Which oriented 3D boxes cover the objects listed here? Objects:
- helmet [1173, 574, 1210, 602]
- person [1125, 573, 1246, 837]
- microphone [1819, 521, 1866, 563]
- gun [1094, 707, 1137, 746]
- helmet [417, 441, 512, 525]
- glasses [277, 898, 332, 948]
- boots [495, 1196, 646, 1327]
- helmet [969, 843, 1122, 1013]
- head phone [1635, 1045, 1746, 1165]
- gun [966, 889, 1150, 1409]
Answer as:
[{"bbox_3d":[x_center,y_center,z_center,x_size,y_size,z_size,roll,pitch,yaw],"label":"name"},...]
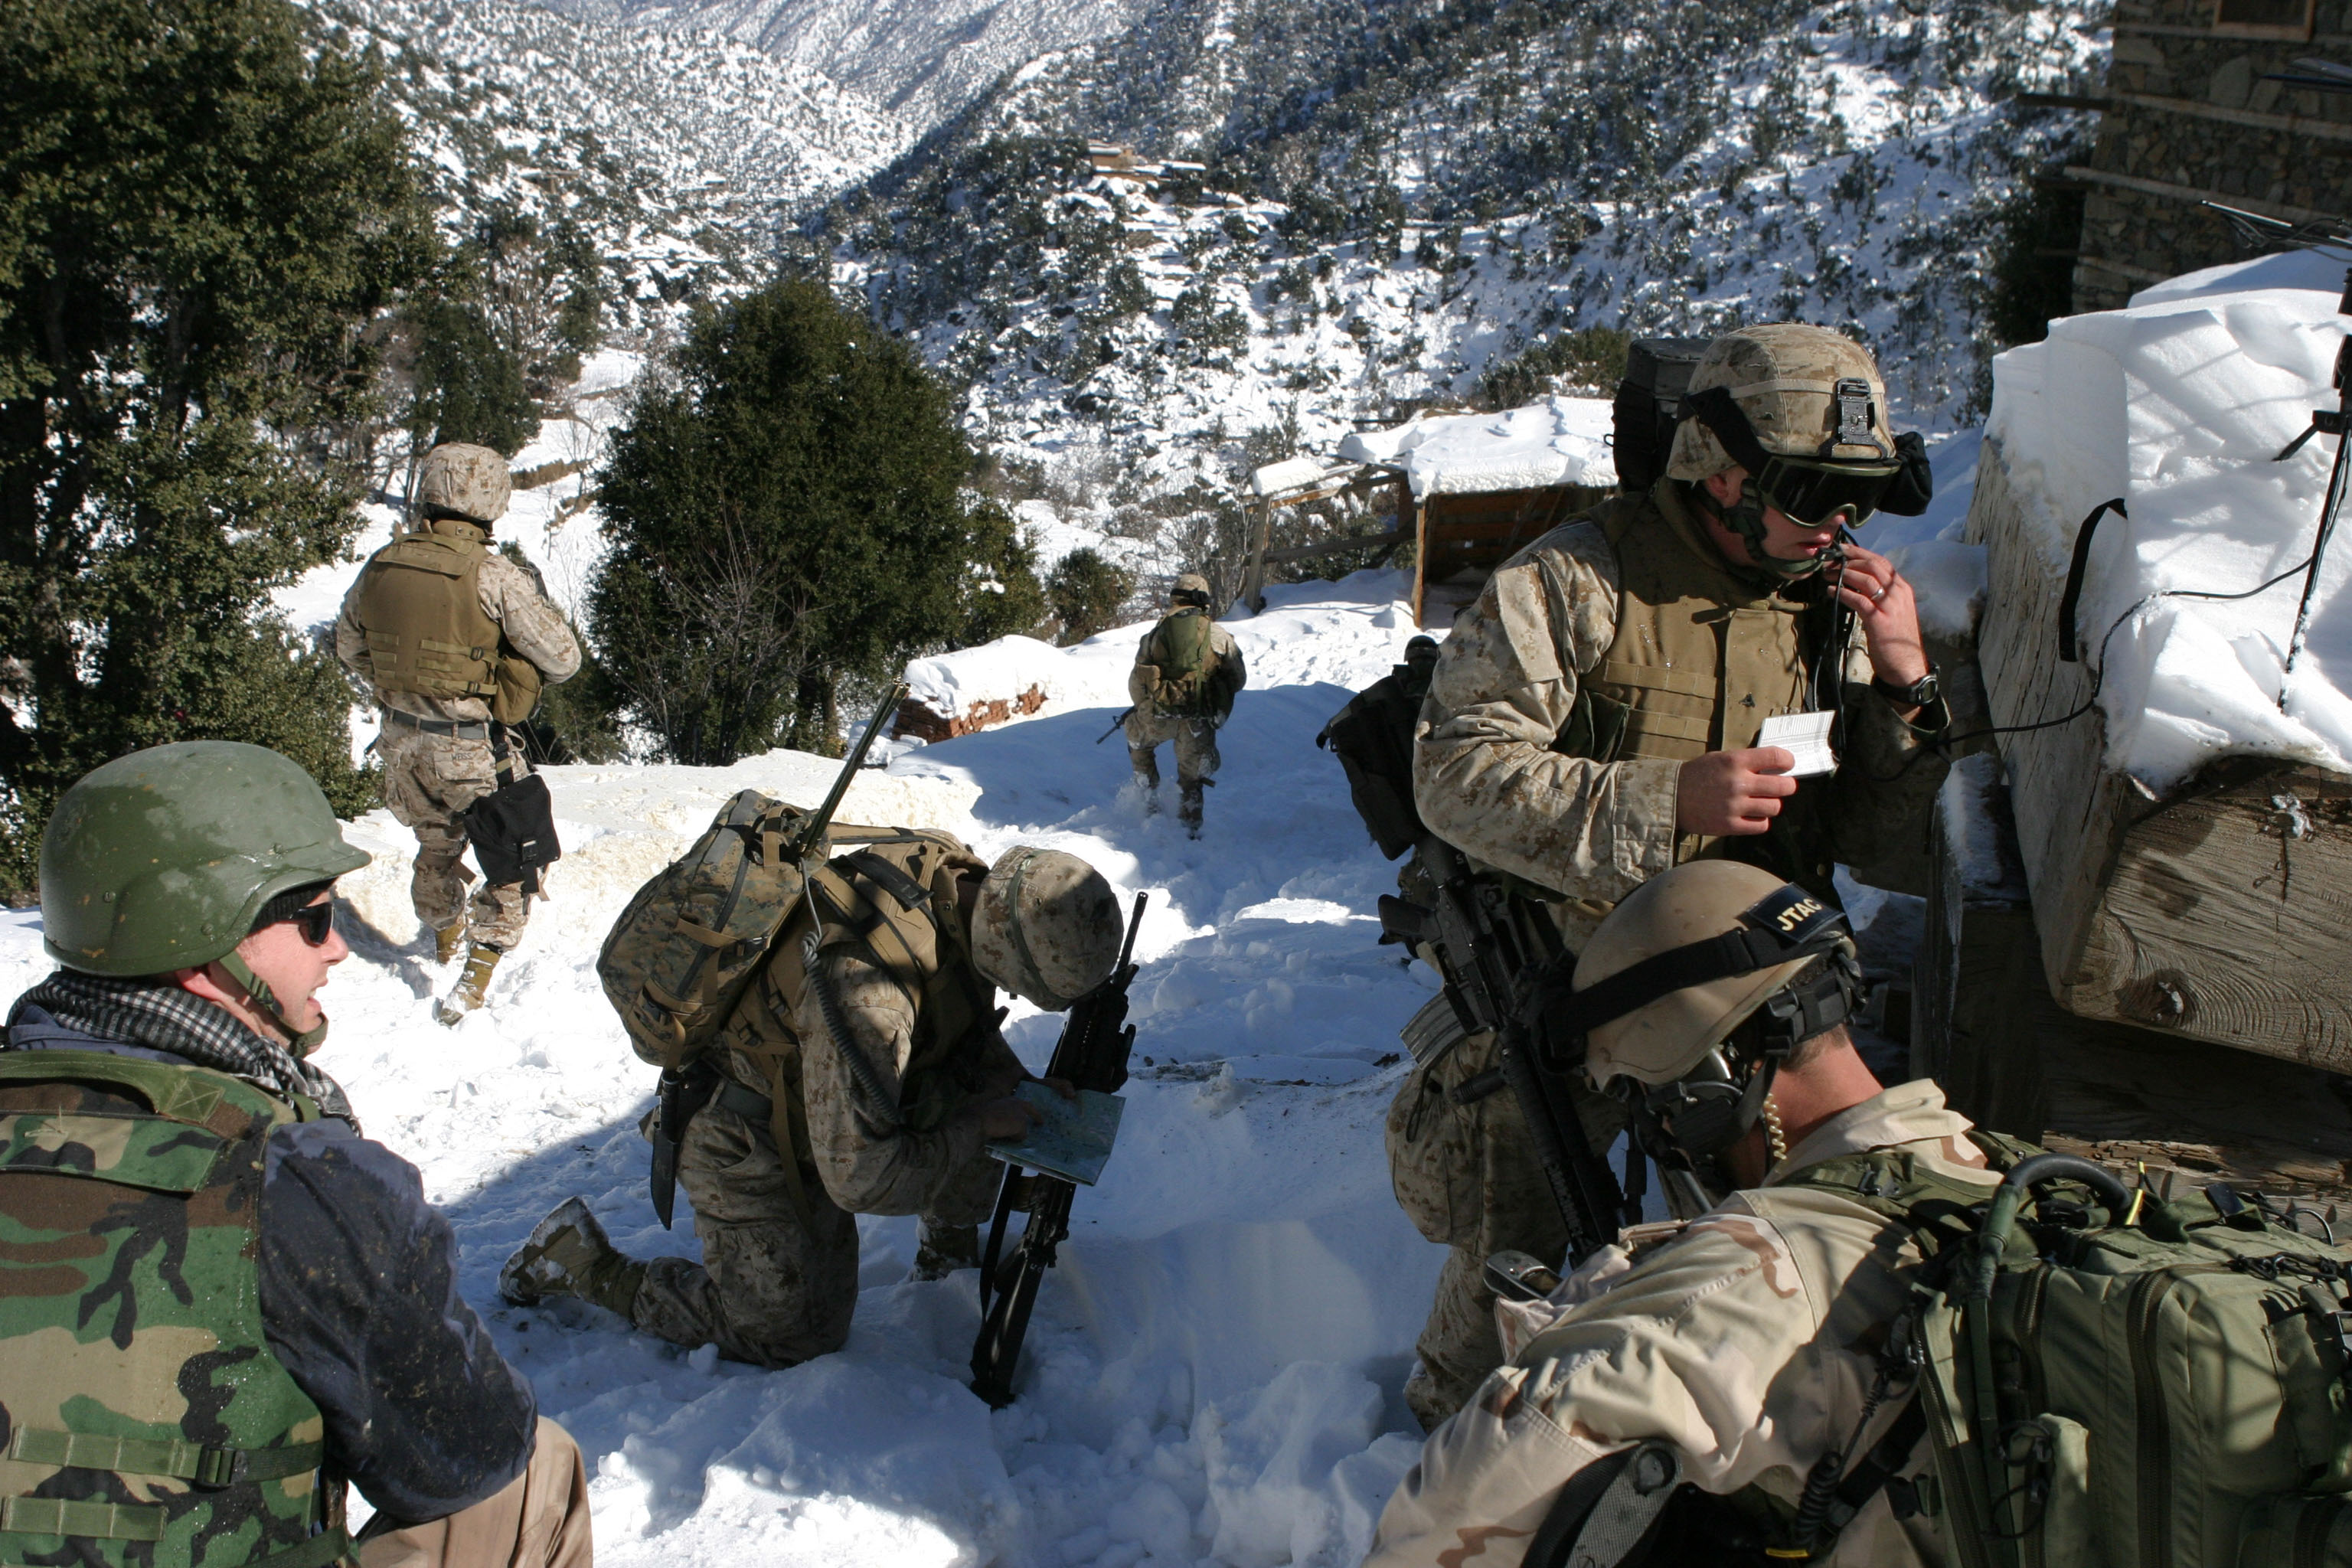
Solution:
[{"bbox_3d":[0.104,-1.377,13.714,0.156,0.211,0.220,5,9,3],"label":"helmet"},{"bbox_3d":[0.051,-0.639,13.887,0.793,1.677,1.412,-3,13,-1],"label":"person"},{"bbox_3d":[1.960,-0.745,5.829,0.097,0.143,0.057,4,43,-11],"label":"microphone"},{"bbox_3d":[-0.473,-0.460,15.499,0.245,0.322,0.104,32,-7,33],"label":"gun"},{"bbox_3d":[-3.363,-1.430,9.352,0.311,0.405,0.423,15,23,36],"label":"helmet"},{"bbox_3d":[-2.318,0.360,5.273,0.091,0.123,0.085,-1,2,-8],"label":"glasses"},{"bbox_3d":[-2.329,1.836,7.593,0.439,0.461,0.225,25,12,14],"label":"boots"},{"bbox_3d":[-0.417,0.523,6.886,0.441,0.537,0.632,16,8,-13],"label":"helmet"},{"bbox_3d":[1.313,0.808,4.973,0.212,0.154,0.285,-16,15,28],"label":"head phone"},{"bbox_3d":[-0.432,1.321,6.963,0.288,1.821,0.632,0,-24,42],"label":"gun"}]
